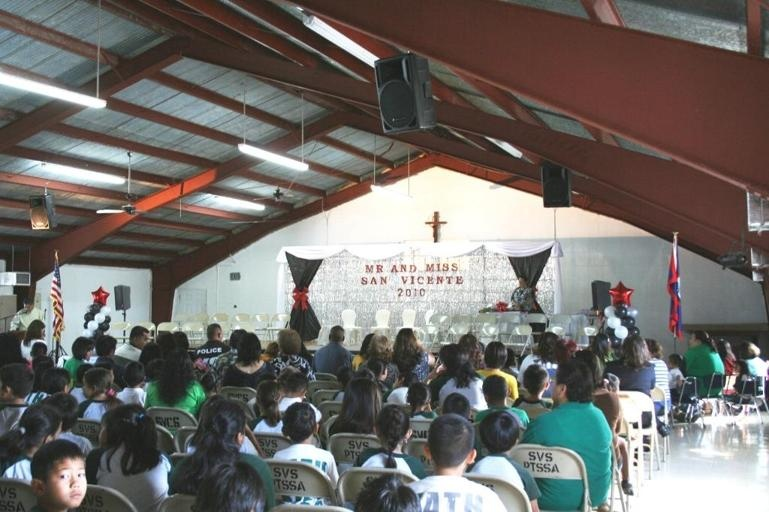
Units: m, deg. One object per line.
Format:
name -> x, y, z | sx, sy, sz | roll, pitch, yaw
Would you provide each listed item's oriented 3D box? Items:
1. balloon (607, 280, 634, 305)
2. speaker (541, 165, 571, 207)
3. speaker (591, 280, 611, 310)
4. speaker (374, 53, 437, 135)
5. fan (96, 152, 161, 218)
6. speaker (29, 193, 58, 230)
balloon -> 5.293, 0.846, 18.553 | 0.676, 0.646, 0.701 | 2, -1, 26
speaker -> 3.002, -1.263, 14.550 | 0.493, 0.766, 0.325 | 0, -8, 13
speaker -> 5.060, 0.942, 19.370 | 0.182, 0.621, 0.645 | -2, -12, 40
speaker -> 0.251, -2.042, 10.391 | 0.653, 0.937, 0.482 | -2, -8, 20
fan -> -6.096, -1.797, 19.420 | 1.121, 1.732, 1.131 | -3, -3, 23
speaker -> -7.003, -0.932, 16.940 | 0.492, 0.682, 0.623 | 5, -8, -23
